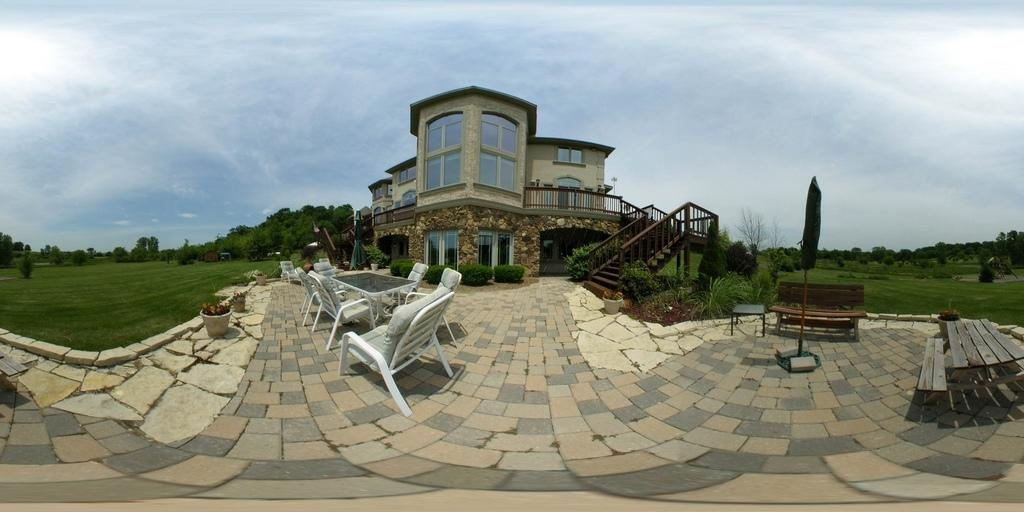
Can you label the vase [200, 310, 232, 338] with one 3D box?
[{"bbox_3d":[-8.831,2.046,15.341,0.889,0.516,0.871,0,0,38],"label":"vase"}]
